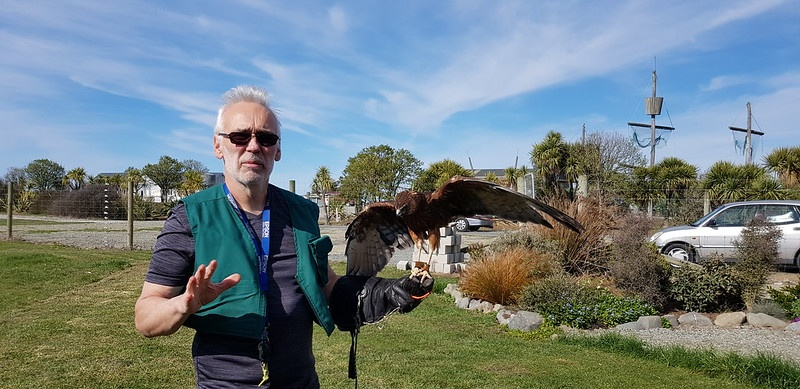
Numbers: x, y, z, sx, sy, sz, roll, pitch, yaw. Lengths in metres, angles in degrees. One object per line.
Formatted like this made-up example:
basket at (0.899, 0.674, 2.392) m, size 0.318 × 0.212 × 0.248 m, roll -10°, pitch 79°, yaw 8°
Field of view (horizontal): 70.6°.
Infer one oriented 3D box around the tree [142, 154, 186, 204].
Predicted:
tree at (-32.853, -2.003, 78.107) m, size 7.647 × 7.710 × 7.008 m, roll 0°, pitch -3°, yaw -13°

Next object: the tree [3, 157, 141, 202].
tree at (-33.602, -1.094, 56.918) m, size 7.795 × 2.843 × 5.296 m, roll 8°, pitch 5°, yaw -3°
